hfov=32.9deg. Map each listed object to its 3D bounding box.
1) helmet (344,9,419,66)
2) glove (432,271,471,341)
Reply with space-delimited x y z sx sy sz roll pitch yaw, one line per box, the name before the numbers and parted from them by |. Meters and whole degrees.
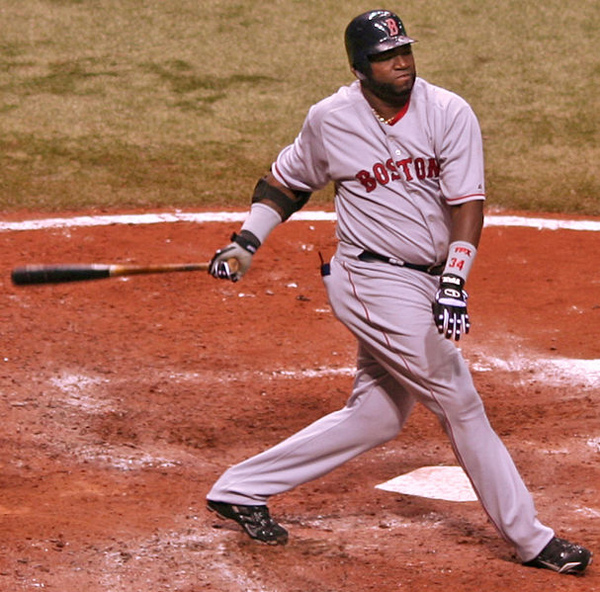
helmet | 0.281 -1.098 4.264 0.273 0.136 0.330 -20 11 -31
glove | 0.619 0.052 4.080 0.225 0.235 0.086 -2 -27 0
